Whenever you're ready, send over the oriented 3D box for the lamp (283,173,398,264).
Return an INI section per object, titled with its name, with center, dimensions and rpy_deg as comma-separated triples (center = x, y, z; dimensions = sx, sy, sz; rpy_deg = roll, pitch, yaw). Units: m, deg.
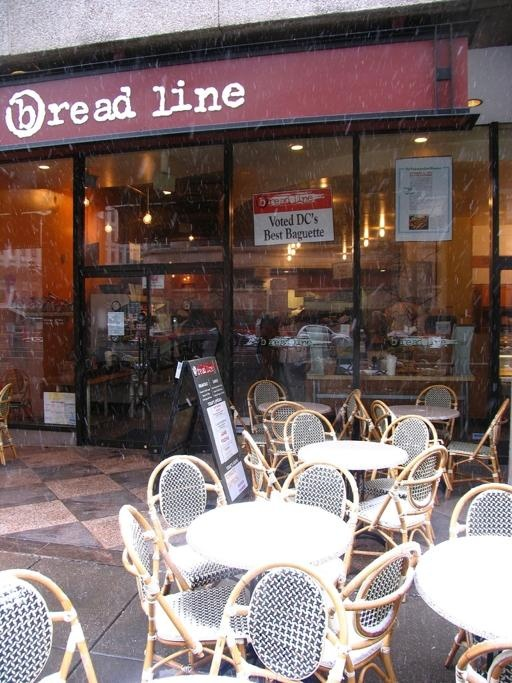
[lamp]
center = 0.912, -1.258, 6.427
dimensions = 0.811, 0.864, 0.204
rpy_deg = 1, 7, 0
